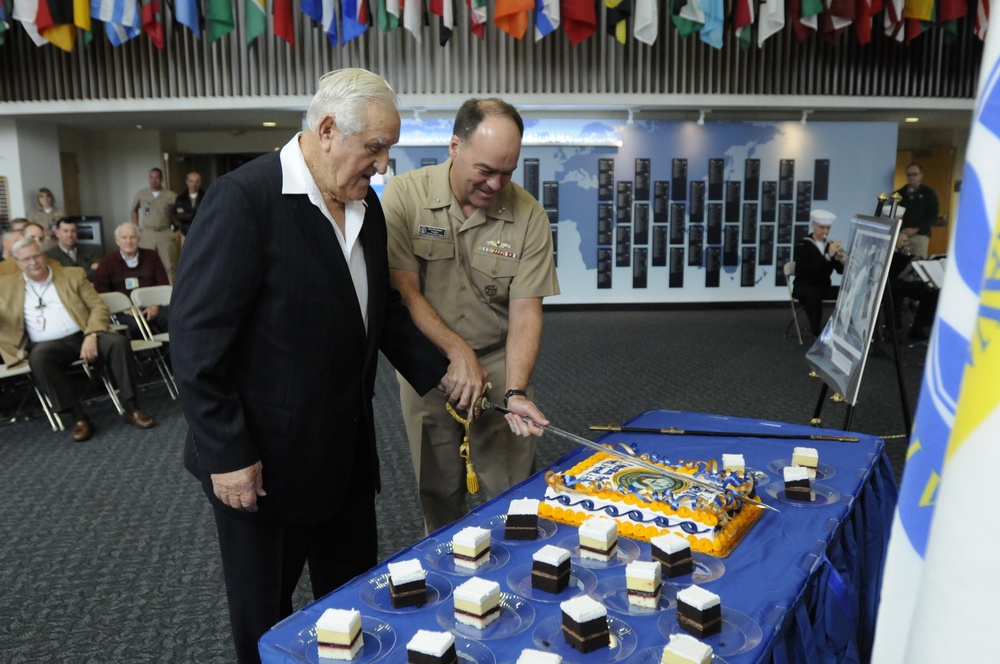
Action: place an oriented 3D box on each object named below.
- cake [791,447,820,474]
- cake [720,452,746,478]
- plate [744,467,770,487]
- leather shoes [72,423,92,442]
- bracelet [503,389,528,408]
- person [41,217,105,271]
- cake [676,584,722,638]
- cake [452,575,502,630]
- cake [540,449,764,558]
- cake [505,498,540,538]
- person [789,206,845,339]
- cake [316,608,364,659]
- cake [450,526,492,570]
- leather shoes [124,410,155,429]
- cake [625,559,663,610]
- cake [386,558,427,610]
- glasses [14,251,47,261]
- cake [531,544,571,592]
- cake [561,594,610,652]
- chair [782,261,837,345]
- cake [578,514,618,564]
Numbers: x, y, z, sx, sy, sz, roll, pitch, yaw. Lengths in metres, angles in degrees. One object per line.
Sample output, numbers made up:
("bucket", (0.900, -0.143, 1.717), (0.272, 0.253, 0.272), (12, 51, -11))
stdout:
("cake", (1.053, 0.426, 2.347), (0.100, 0.107, 0.072), (0, 6, 19))
("cake", (0.793, 0.450, 2.272), (0.059, 0.047, 0.059), (0, 3, 8))
("plate", (0.873, 0.486, 2.275), (0.056, 0.010, 0.058), (3, 20, 14))
("leather shoes", (-3.145, 0.745, 5.059), (0.077, 0.097, 0.217), (-2, 2, -16))
("bracelet", (0.051, 0.237, 2.308), (0.058, 0.022, 0.060), (-35, -11, 13))
("person", (-5.017, -0.976, 7.808), (0.392, 0.673, 0.722), (6, 12, 22))
("cake", (0.449, 0.634, 1.528), (0.067, 0.083, 0.087), (-3, 2, -34))
("cake", (-0.056, 0.622, 1.593), (0.093, 0.092, 0.096), (5, 7, 40))
("cake", (0.452, 0.511, 2.030), (0.341, 0.090, 0.331), (5, 12, 28))
("cake", (0.062, 0.528, 1.892), (0.078, 0.068, 0.106), (0, 4, 10))
("person", (3.865, -0.709, 8.244), (0.545, 1.510, 1.027), (6, 15, 24))
("cake", (-0.354, 0.655, 1.505), (0.087, 0.090, 0.091), (1, 5, 10))
("cake", (-0.077, 0.559, 1.800), (0.087, 0.093, 0.089), (7, 10, 35))
("leather shoes", (-2.864, 0.662, 5.338), (0.258, 0.100, 0.118), (10, 14, 32))
("cake", (0.349, 0.607, 1.639), (0.079, 0.108, 0.061), (-5, 0, 30))
("cake", (-0.227, 0.596, 1.629), (0.089, 0.080, 0.089), (-3, 4, -24))
("glasses", (-3.805, -0.611, 5.440), (0.191, 0.076, 0.108), (-7, 15, -28))
("cake", (0.132, 0.598, 1.690), (0.091, 0.083, 0.094), (1, -2, 27))
("cake", (0.201, 0.632, 1.529), (0.112, 0.112, 0.091), (-7, 12, -33))
("chair", (3.936, -0.444, 8.697), (0.659, 0.999, 0.586), (-4, -1, 1))
("cake", (0.265, 0.549, 1.821), (0.089, 0.084, 0.091), (7, 17, 32))
